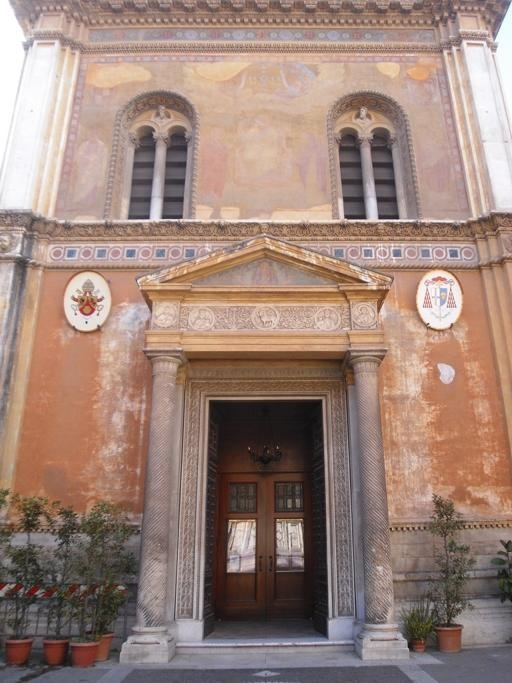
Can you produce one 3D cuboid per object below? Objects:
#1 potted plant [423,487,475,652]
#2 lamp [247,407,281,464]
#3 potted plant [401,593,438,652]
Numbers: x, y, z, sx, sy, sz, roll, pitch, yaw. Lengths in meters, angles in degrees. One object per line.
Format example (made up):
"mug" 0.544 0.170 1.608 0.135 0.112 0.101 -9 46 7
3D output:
"potted plant" 2.802 3.243 7.613 0.670 2.059 1.144 -8 -24 18
"lamp" 0.190 2.023 10.844 0.704 1.042 0.885 -1 -22 1
"potted plant" 2.202 3.883 7.221 0.463 0.529 0.466 15 -30 -18
